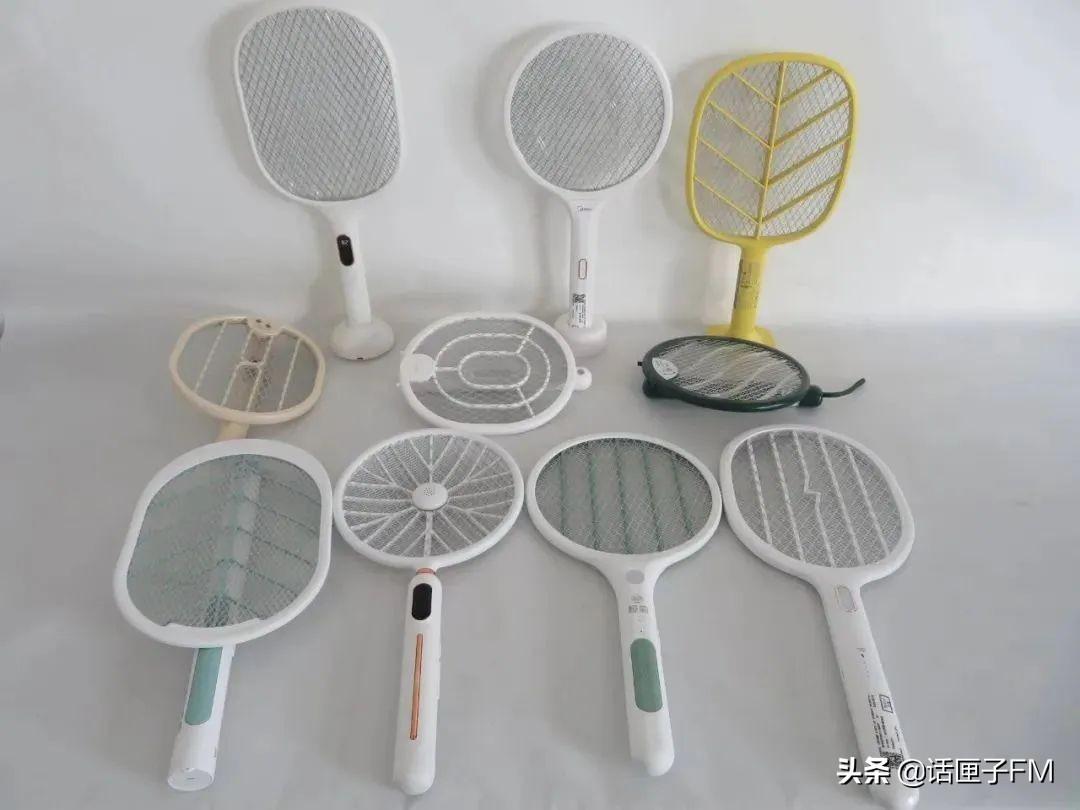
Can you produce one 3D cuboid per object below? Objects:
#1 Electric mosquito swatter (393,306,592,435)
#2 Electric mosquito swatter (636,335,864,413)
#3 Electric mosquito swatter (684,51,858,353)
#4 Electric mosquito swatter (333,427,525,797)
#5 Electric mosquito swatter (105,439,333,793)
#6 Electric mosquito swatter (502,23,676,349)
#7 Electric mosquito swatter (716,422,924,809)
[{"bbox_3d":[-0.094,-0.063,1.602,0.271,0.046,0.248,1,47,-5],"label":"Electric mosquito swatter"},{"bbox_3d":[0.348,-0.054,1.567,0.278,0.058,0.194,6,35,3],"label":"Electric mosquito swatter"},{"bbox_3d":[0.419,-0.379,1.635,0.286,0.605,0.119,2,48,7],"label":"Electric mosquito swatter"},{"bbox_3d":[-0.177,0.232,1.258,0.207,0.056,0.545,0,45,-4],"label":"Electric mosquito swatter"},{"bbox_3d":[-0.470,0.265,1.291,0.252,0.088,0.502,-2,55,-5],"label":"Electric mosquito swatter"},{"bbox_3d":[0.085,-0.389,1.643,0.293,0.697,0.126,-1,47,-1],"label":"Electric mosquito swatter"},{"bbox_3d":[0.453,0.279,1.328,0.210,0.030,0.546,0,42,0],"label":"Electric mosquito swatter"}]
